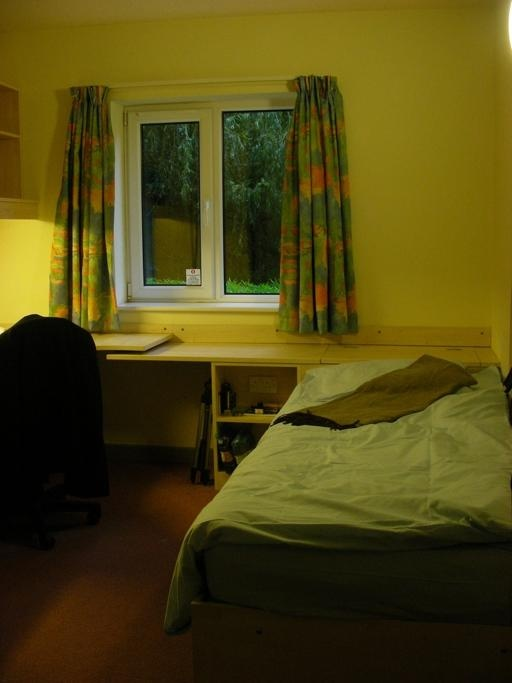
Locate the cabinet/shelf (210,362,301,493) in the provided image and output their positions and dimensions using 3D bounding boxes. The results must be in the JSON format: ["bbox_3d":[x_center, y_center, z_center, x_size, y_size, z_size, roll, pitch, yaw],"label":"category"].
[{"bbox_3d":[-0.024,0.409,2.882,0.371,0.669,0.234,7,-6,2],"label":"cabinet/shelf"}]
